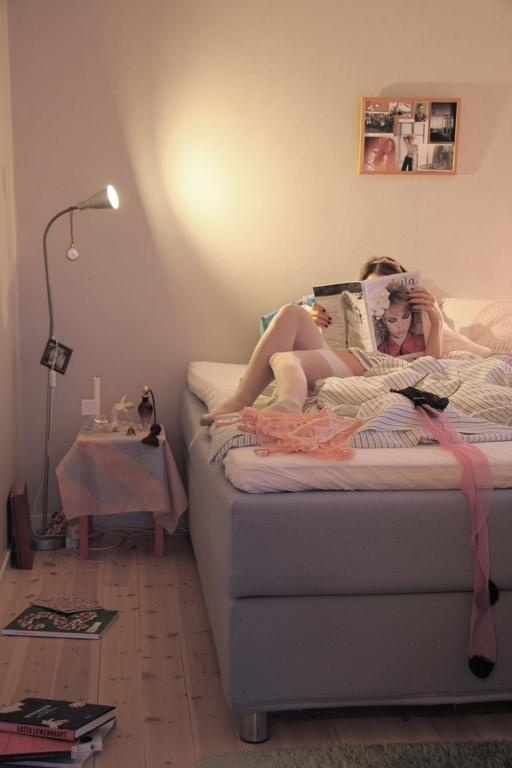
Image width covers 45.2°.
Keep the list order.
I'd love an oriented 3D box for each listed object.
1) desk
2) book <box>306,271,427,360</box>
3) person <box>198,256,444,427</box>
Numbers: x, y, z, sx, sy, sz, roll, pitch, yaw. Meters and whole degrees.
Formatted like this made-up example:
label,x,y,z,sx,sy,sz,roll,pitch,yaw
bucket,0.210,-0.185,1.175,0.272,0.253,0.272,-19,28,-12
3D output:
label,x,y,z,sx,sy,sz,roll,pitch,yaw
desk,-0.487,0.432,2.310,0.448,0.493,0.351,-5,25,-8
book,0.394,-0.243,2.225,0.410,0.277,0.107,1,35,25
person,0.266,-0.176,2.061,0.925,0.529,0.474,-16,10,-36
